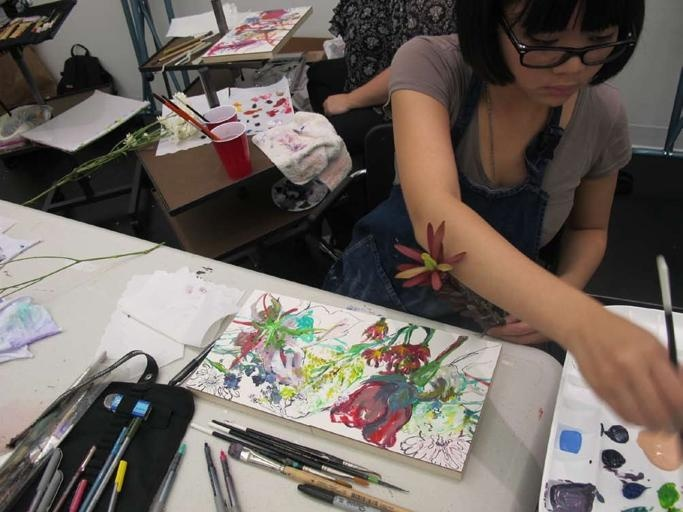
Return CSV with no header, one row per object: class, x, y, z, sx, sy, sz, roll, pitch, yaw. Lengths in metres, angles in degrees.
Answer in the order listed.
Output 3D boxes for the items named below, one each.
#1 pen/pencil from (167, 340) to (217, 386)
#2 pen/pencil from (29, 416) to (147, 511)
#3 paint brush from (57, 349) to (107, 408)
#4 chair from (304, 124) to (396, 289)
pen/pencil,-0.286,0.208,0.926,0.015,0.012,0.112,2,34,29
pen/pencil,-0.426,0.355,0.812,0.015,0.016,0.148,-19,35,40
paint brush,-0.483,0.226,0.944,0.039,0.032,0.133,34,58,11
chair,0.023,-0.143,1.401,0.248,0.429,0.241,-15,66,-15
